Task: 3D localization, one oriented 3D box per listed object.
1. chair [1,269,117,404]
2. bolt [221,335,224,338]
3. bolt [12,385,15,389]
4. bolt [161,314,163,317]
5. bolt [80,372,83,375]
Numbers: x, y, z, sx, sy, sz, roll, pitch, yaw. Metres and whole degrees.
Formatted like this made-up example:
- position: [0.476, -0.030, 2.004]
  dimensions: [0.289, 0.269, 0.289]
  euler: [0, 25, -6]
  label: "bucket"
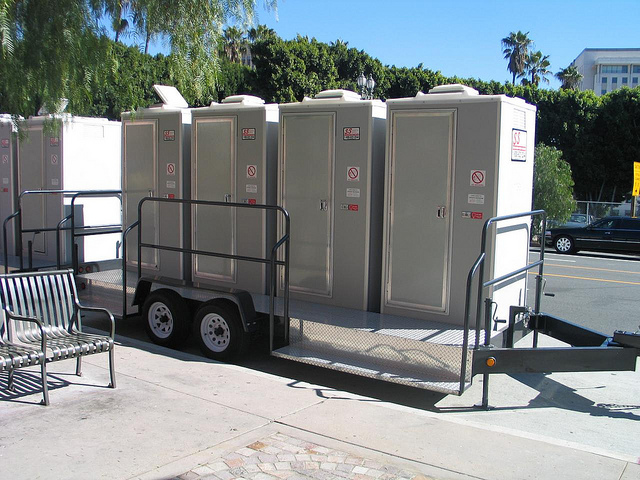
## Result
- position: [-3.080, 1.175, 6.786]
  dimensions: [1.232, 1.841, 1.159]
  euler: [3, 4, 43]
  label: "chair"
- position: [-1.291, 1.284, 7.688]
  dimensions: [0.017, 0.045, 0.061]
  euler: [-4, 9, -38]
  label: "bolt"
- position: [-3.447, 1.658, 6.495]
  dimensions: [0.024, 0.027, 0.014]
  euler: [-5, -10, 4]
  label: "bolt"
- position: [-2.254, 1.086, 8.253]
  dimensions: [0.020, 0.043, 0.022]
  euler: [2, 5, 19]
  label: "bolt"
- position: [-2.862, 1.599, 6.917]
  dimensions: [0.029, 0.044, 0.014]
  euler: [2, -4, -6]
  label: "bolt"
